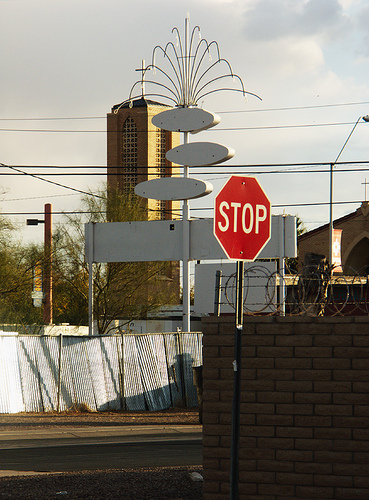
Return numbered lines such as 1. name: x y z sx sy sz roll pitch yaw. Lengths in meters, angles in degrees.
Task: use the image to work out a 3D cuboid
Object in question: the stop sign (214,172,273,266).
1. stop sign: 0.789 -0.412 20.745 0.797 1.351 0.048 2 32 3
